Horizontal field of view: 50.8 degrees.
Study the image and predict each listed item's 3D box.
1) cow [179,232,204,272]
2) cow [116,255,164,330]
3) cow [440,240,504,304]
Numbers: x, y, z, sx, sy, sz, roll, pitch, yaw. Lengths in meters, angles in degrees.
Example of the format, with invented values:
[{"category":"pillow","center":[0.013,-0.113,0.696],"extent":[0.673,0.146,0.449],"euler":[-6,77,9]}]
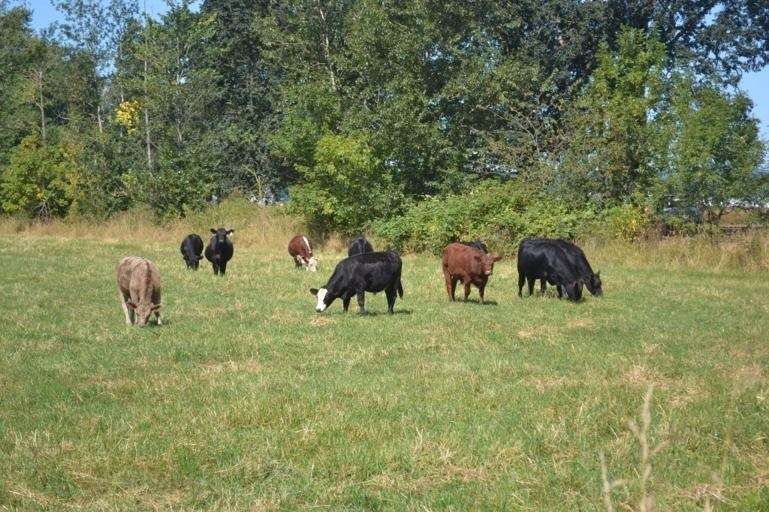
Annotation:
[{"category":"cow","center":[-8.205,-0.194,34.718],"extent":[0.870,1.435,1.327],"euler":[2,2,-15]},{"category":"cow","center":[-7.824,1.135,26.073],"extent":[1.109,2.063,1.806],"euler":[1,3,-31]},{"category":"cow","center":[3.100,0.617,29.036],"extent":[1.009,2.095,2.232],"euler":[1,3,-32]}]
